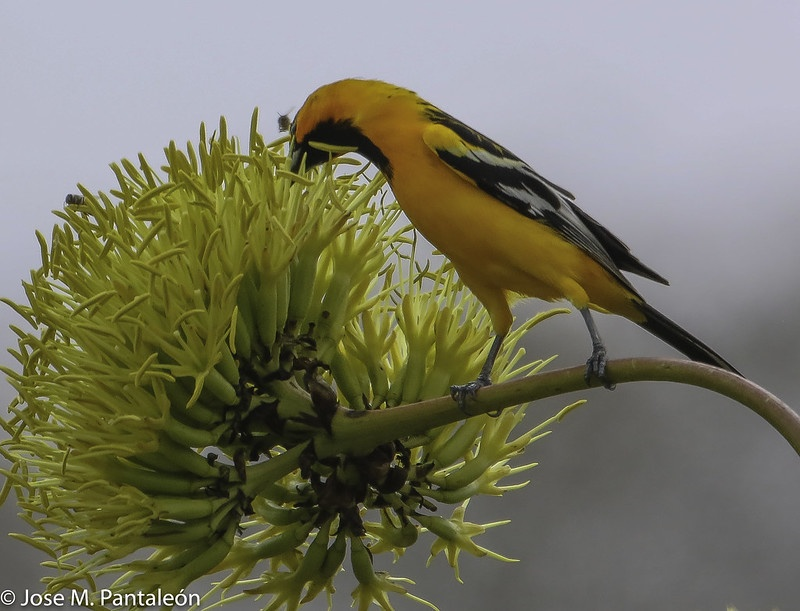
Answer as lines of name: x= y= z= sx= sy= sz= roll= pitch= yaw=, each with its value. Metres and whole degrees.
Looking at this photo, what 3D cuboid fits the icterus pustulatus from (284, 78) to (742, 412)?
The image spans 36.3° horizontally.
icterus pustulatus: x=0.179 y=-0.085 z=1.760 sx=0.772 sy=0.378 sz=0.181 roll=8 pitch=-21 yaw=-30
